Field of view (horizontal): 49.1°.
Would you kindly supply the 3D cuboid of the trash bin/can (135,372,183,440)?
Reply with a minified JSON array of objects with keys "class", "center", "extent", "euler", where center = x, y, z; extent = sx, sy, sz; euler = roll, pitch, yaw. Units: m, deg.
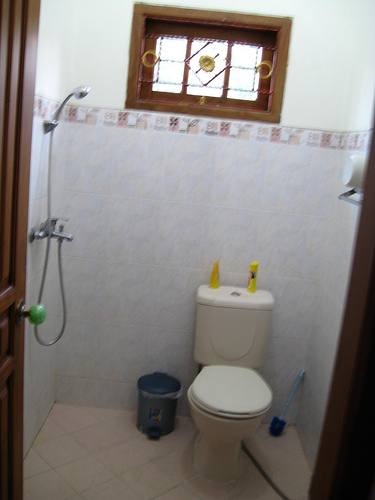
[{"class":"trash bin/can","center":[-0.162,0.844,2.239],"extent":[0.236,0.261,0.269],"euler":[6,9,2]}]

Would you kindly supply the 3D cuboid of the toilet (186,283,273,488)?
[{"class":"toilet","center":[0.203,0.652,2.046],"extent":[0.404,0.808,0.621],"euler":[6,10,5]}]
